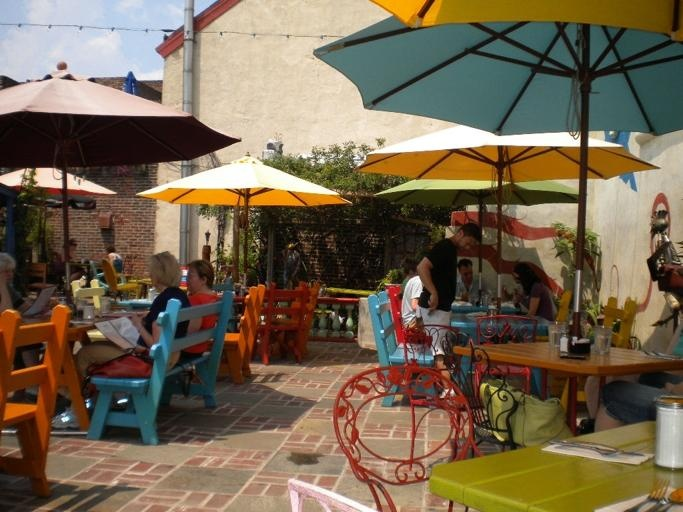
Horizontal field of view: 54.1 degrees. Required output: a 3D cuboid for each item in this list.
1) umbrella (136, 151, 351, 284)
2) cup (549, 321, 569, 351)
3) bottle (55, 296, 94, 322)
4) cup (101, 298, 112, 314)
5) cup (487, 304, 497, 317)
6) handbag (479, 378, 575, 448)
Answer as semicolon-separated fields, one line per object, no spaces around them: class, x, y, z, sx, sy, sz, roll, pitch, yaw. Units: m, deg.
umbrella;-1.475;-0.769;10.297;2.197;1.546;2.243;4;5;39
cup;1.738;0.646;5.389;0.185;0.209;0.182;0;0;0
bottle;-2.638;0.525;6.637;0.362;0.354;0.228;-2;6;-16
cup;-2.600;0.540;7.398;0.111;0.174;0.172;1;3;-20
cup;1.915;0.678;8.491;0.136;0.165;0.132;0;-2;0
handbag;1.244;1.055;4.476;0.386;0.328;0.707;-6;-2;-20
